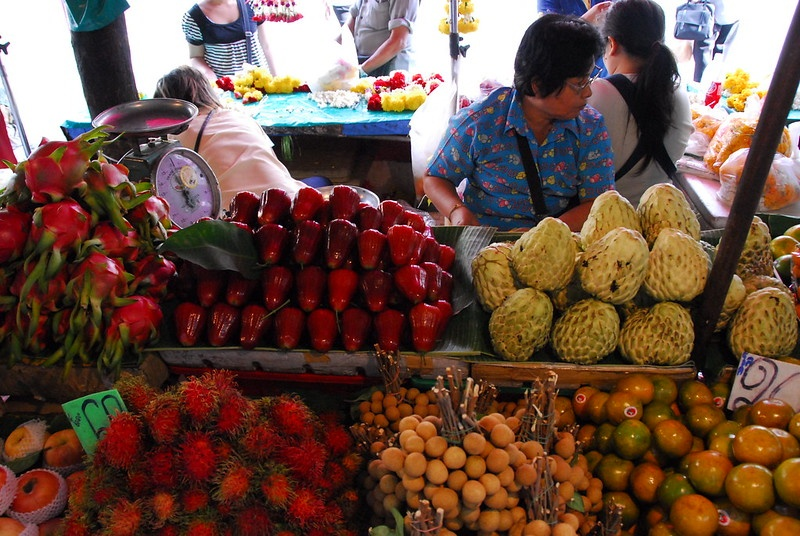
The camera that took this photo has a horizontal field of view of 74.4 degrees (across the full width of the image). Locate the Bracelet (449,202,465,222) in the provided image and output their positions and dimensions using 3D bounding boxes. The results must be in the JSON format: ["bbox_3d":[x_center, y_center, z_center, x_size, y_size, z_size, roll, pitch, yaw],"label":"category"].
[{"bbox_3d":[0.315,-0.331,3.103,0.036,0.079,0.093,40,75,5],"label":"Bracelet"}]

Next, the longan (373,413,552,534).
[{"bbox_3d":[0.182,0.599,1.609,0.441,0.312,0.205,5,12,-1],"label":"longan"}]

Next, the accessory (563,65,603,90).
[{"bbox_3d":[0.915,-0.964,2.665,0.164,0.048,0.162,-32,22,-30],"label":"accessory"}]
